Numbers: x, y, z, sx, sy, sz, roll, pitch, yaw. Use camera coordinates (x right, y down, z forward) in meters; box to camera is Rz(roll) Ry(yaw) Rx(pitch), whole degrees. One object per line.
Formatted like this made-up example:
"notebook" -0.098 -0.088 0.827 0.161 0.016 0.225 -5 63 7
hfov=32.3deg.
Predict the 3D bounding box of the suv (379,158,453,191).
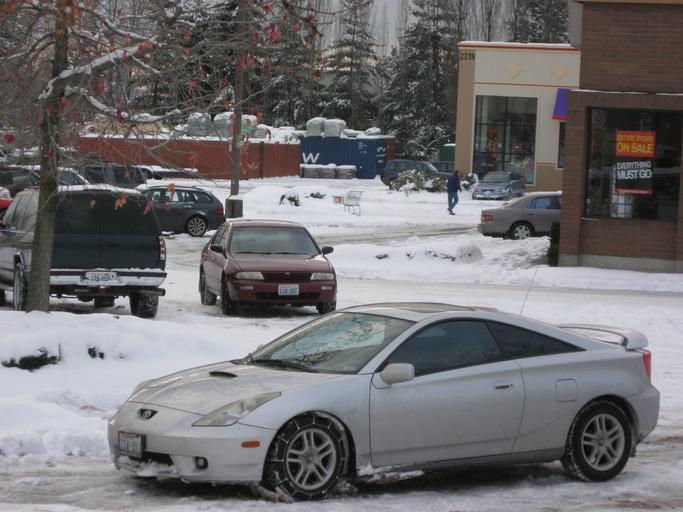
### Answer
"suv" 3.740 -4.163 61.382 3.402 1.586 1.659 1 9 17

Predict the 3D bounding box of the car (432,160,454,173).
"car" 6.114 -5.291 70.419 1.504 0.895 0.840 5 8 37

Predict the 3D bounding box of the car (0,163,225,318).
"car" -4.387 -0.295 19.887 1.725 1.549 3.204 -2 10 -27

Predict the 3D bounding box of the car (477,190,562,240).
"car" 5.092 -1.114 33.376 2.362 0.858 1.082 -10 8 3
